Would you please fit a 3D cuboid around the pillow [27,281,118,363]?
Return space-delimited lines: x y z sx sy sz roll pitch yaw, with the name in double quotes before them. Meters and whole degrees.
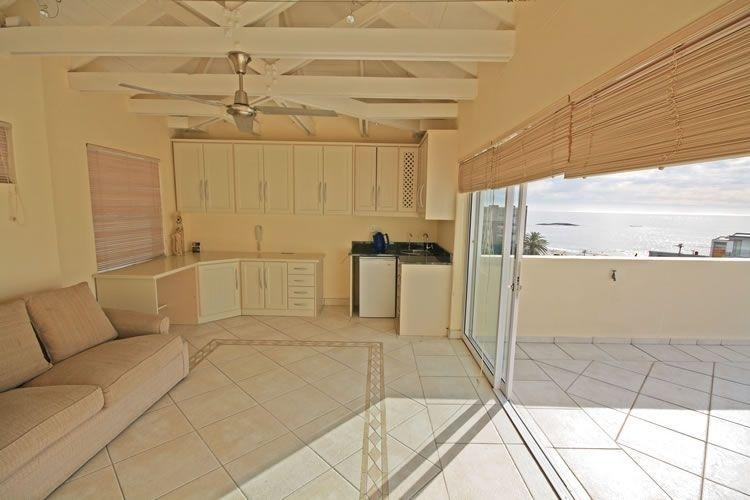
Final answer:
"pillow" -3.107 0.680 4.400 0.259 0.824 0.750 -26 -81 13

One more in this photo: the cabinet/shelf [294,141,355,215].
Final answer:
"cabinet/shelf" -0.764 -1.077 6.423 1.318 0.564 1.216 0 -85 -2

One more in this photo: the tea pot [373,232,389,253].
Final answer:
"tea pot" 0.098 -0.103 6.646 0.262 0.404 0.299 0 -82 -3

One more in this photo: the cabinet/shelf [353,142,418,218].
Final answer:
"cabinet/shelf" 0.153 -1.047 6.405 1.364 0.490 1.134 0 -87 0

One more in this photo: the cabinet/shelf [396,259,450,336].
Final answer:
"cabinet/shelf" 0.470 0.642 6.252 1.051 0.867 1.130 2 -86 5

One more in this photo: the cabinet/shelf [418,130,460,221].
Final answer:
"cabinet/shelf" 0.850 -0.961 5.728 0.571 1.331 1.151 0 -85 1
